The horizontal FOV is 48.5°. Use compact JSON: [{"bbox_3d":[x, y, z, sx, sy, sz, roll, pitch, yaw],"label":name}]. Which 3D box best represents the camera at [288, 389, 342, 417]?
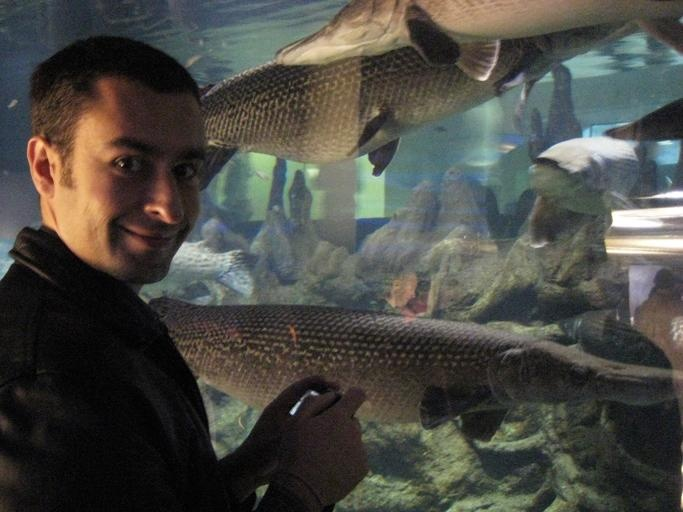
[{"bbox_3d":[-0.068,0.384,1.897,0.103,0.030,0.104,-34,15,-32],"label":"camera"}]

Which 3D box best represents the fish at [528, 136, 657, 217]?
[{"bbox_3d":[0.762,-0.238,2.244,0.430,0.219,0.335,-4,8,-34],"label":"fish"}]
